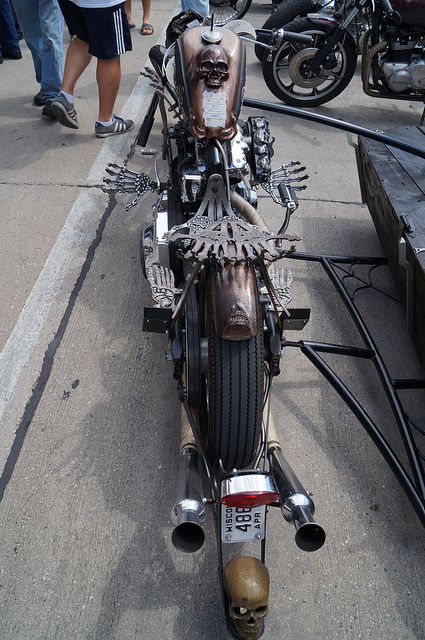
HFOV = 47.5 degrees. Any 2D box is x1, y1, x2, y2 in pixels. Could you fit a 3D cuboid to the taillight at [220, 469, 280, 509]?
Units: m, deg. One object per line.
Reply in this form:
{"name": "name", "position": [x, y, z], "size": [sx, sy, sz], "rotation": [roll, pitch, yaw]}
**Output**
{"name": "taillight", "position": [0.089, 0.418, 1.206], "size": [0.141, 0.094, 0.088], "rotation": [-4, 40, -1]}

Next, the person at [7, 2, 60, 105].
{"name": "person", "position": [-1.548, -2.435, 4.438], "size": [0.403, 0.829, 0.680], "rotation": [-22, 43, -21]}
